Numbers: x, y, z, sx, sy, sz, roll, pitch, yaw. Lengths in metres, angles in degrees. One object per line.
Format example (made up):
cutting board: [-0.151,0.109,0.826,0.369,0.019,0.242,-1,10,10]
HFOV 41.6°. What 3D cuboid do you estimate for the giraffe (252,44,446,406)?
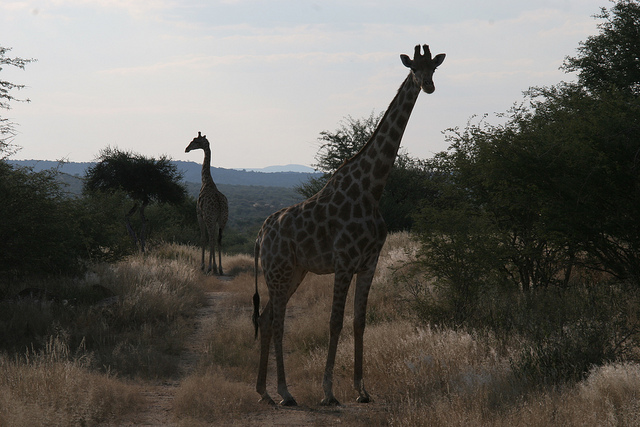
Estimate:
giraffe: [0.367,0.264,20.461,4.311,8.289,1.789,-4,11,-6]

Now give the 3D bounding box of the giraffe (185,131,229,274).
giraffe: [-4.328,-0.463,32.779,1.287,5.870,3.326,-4,12,-9]
